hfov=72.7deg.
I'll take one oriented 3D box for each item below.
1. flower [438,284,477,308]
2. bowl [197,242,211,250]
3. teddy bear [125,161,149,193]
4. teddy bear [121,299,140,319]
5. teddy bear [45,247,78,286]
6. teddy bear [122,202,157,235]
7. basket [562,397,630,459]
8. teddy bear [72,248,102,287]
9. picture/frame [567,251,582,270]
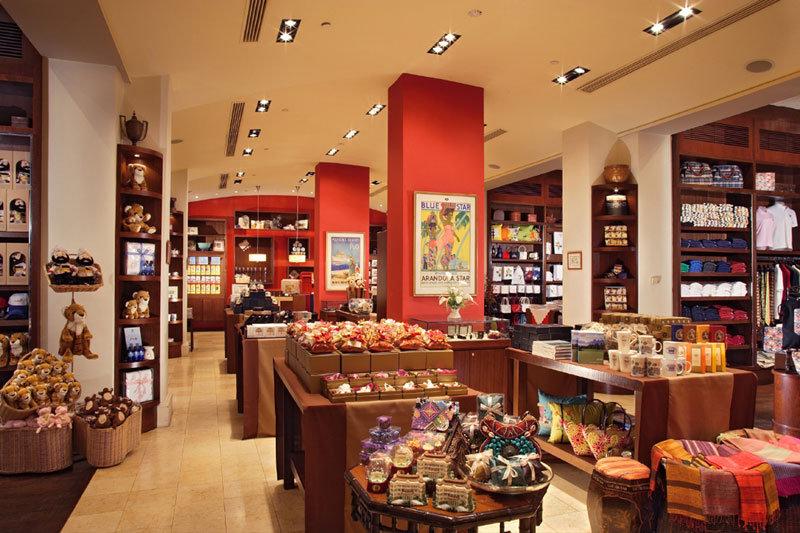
[{"bbox_3d":[0.751,0.436,7.761,0.423,0.277,0.427,-5,-8,40],"label":"flower"},{"bbox_3d":[-6.296,-0.642,17.525,0.301,0.184,0.299,-1,-4,0],"label":"bowl"},{"bbox_3d":[-3.571,-1.221,7.416,0.255,0.454,0.351,1,-2,-26],"label":"teddy bear"},{"bbox_3d":[-3.629,0.570,7.318,0.228,0.246,0.182,0,-2,-8],"label":"teddy bear"},{"bbox_3d":[-3.960,-0.004,6.358,0.391,0.446,0.194,-4,-13,-25],"label":"teddy bear"},{"bbox_3d":[-3.542,-0.651,7.465,0.322,0.421,0.435,-1,-2,21],"label":"teddy bear"},{"bbox_3d":[2.046,1.646,5.579,0.722,0.639,0.429,0,-5,-6],"label":"basket"},{"bbox_3d":[-3.766,0.043,6.554,0.326,0.431,0.189,-6,-15,-42],"label":"teddy bear"},{"bbox_3d":[3.128,-0.110,9.696,0.027,0.322,0.330,1,0,-29],"label":"picture/frame"}]
